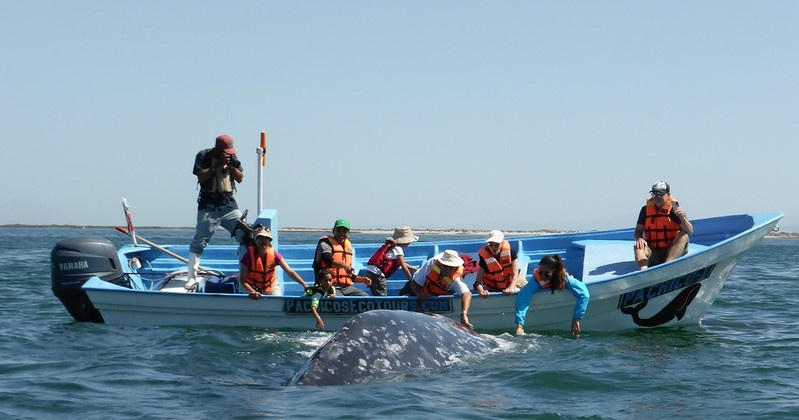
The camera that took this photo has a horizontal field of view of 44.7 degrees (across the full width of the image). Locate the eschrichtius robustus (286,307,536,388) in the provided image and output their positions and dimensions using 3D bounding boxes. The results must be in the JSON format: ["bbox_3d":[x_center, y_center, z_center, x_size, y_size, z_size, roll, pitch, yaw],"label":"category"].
[{"bbox_3d":[-0.178,3.208,24.660,4.307,1.650,6.050,-10,-2,39],"label":"eschrichtius robustus"}]

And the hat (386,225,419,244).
[{"bbox_3d":[0.086,0.590,28.107,0.814,0.280,0.723,-10,20,-36],"label":"hat"}]

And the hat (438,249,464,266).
[{"bbox_3d":[1.484,1.303,26.363,0.553,0.167,0.450,1,28,-31],"label":"hat"}]

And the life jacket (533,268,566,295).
[{"bbox_3d":[4.031,1.930,26.562,0.639,0.380,0.773,6,1,-2],"label":"life jacket"}]
